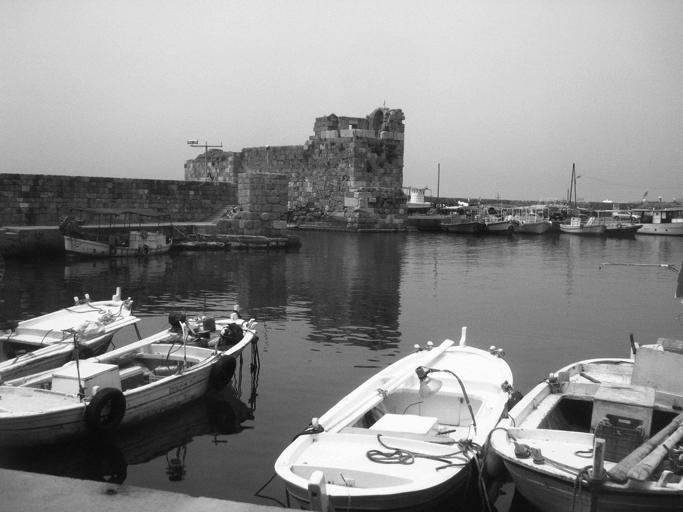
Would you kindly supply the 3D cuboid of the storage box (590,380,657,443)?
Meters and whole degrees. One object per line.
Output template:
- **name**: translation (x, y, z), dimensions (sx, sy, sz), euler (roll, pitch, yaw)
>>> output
- **storage box**: translation (3.079, 1.685, 7.662), dimensions (0.511, 0.547, 0.554), euler (1, 0, 8)

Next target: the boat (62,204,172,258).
- **boat**: translation (-7.985, -0.831, 25.745), dimensions (1.664, 1.804, 4.802), euler (1, -1, 35)

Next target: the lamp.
- **lamp**: translation (1.348, 1.838, 8.756), dimensions (0.656, 1.213, 0.288), euler (-9, 31, 21)
